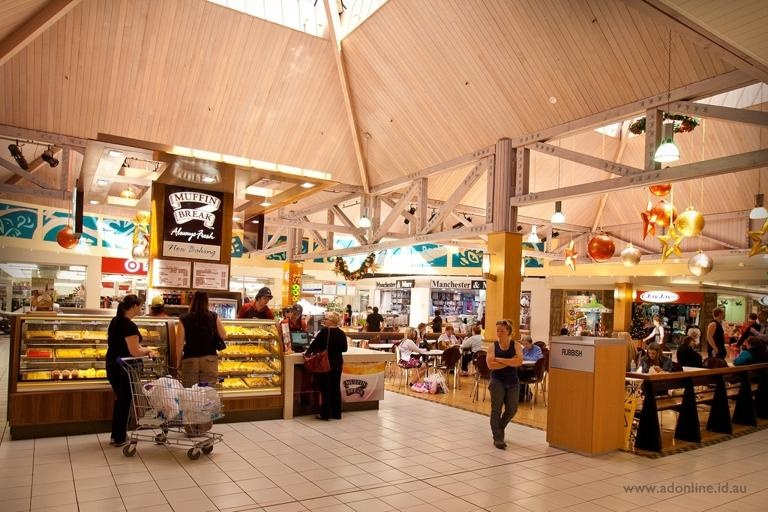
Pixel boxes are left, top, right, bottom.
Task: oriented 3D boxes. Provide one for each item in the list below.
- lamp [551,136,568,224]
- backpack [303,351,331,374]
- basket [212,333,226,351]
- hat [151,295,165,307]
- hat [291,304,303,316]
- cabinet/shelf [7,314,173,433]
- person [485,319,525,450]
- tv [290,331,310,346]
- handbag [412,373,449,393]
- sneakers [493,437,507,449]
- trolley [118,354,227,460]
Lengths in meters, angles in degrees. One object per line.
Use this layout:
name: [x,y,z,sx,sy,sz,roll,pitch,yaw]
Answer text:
lamp: [4.511,-1.779,14.309,0.337,1.777,0.343,3,-14,12]
backpack: [-1.202,1.916,10.054,0.398,0.361,0.169,-8,-16,3]
basket: [-2.703,1.416,9.020,0.179,0.220,0.241,2,-10,-24]
hat: [-3.932,0.778,9.634,0.246,0.118,0.338,-2,11,-6]
hat: [-1.777,1.102,11.285,0.216,0.154,0.299,15,-6,-27]
cabinet/shelf: [-4.622,1.851,8.518,2.050,1.549,0.757,1,-7,-27]
person: [1.945,2.100,9.133,0.541,2.061,0.451,4,5,12]
tv: [-1.627,1.597,10.657,0.433,0.296,0.225,3,-16,-25]
handbag: [1.155,2.953,13.032,0.484,0.251,0.626,-1,-7,35]
sneakers: [1.895,3.055,9.063,0.208,0.116,0.195,4,5,11]
trolley: [-3.119,2.200,8.415,1.503,1.327,0.959,-1,-6,11]
